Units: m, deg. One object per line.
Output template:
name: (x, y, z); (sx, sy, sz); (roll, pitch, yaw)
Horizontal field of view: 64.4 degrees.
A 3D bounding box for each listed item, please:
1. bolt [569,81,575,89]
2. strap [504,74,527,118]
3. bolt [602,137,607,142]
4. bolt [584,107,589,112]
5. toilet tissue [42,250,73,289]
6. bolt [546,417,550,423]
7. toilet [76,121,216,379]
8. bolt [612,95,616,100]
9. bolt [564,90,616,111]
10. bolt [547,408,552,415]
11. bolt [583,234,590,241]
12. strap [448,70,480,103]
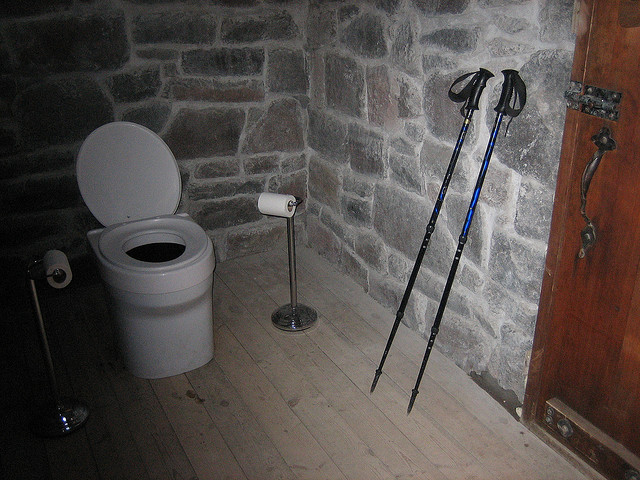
bolt: (0.869, -0.534, 1.744); (0.013, 0.017, 0.005); (31, 30, -39)
strap: (0.725, -0.536, 1.877); (0.087, 0.142, 0.022); (12, 23, 39)
bolt: (0.955, -0.337, 1.696); (0.011, 0.003, 0.012); (12, 34, 23)
bolt: (0.910, -0.445, 1.726); (0.014, 0.017, 0.004); (-6, 13, 7)
toilet tissue: (-1.046, 0.119, 2.021); (0.093, 0.095, 0.142); (-7, 22, -29)
bolt: (0.942, 0.745, 2.089); (0.003, 0.016, 0.015); (-1, 3, -37)
toilet: (-0.841, 0.041, 2.449); (0.561, 1.204, 0.866); (-13, 23, -34)
bolt: (0.959, -0.465, 1.650); (0.004, 0.017, 0.015); (1, 4, -40)
bolt: (0.916, -0.470, 1.704); (0.124, 0.031, 0.039); (30, 35, 27)
bolt: (0.941, 0.706, 2.068); (0.004, 0.018, 0.017); (2, -4, -17)
bolt: (0.949, -0.010, 1.800); (0.012, 0.018, 0.005); (9, -25, 14)
strap: (0.567, -0.599, 2.030); (0.071, 0.123, 0.036); (36, 12, 22)
